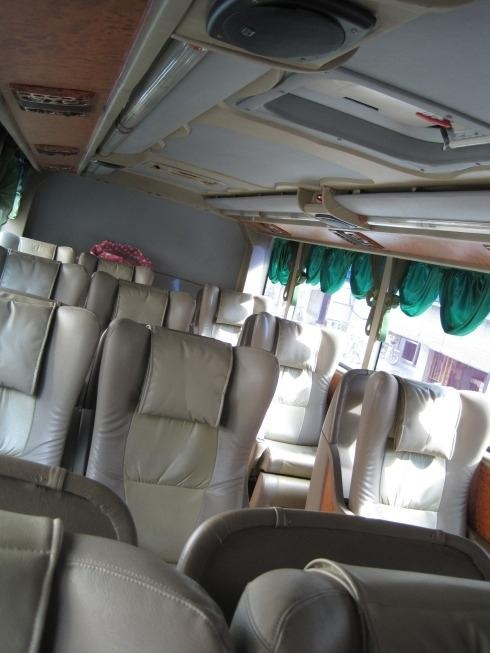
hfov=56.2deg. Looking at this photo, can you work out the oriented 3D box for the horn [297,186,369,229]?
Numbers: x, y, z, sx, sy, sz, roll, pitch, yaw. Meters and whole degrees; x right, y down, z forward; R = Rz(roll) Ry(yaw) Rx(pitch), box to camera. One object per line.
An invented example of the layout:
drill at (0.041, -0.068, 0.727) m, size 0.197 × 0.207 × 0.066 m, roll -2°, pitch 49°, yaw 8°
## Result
horn at (0.543, -0.789, 3.001) m, size 0.347 × 0.168 × 0.416 m, roll -5°, pitch 29°, yaw -40°
